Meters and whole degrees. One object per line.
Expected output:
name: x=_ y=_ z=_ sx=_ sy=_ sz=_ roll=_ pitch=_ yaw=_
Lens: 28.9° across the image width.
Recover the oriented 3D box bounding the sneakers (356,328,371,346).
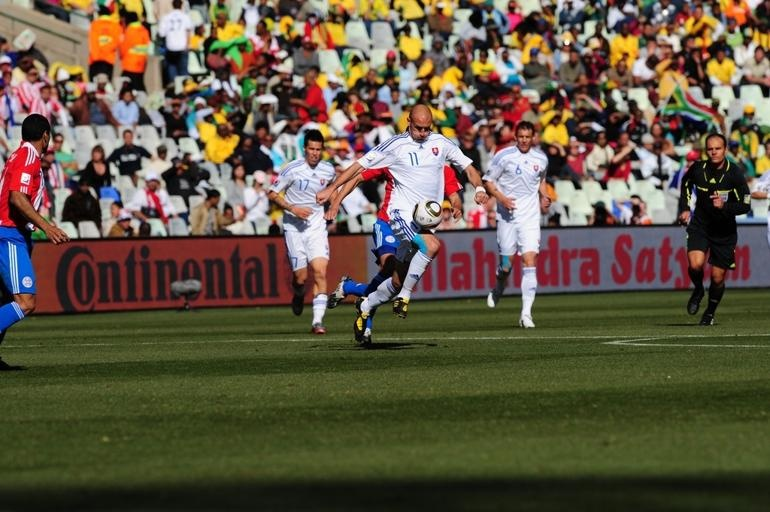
sneakers: x=-0.337 y=1.234 z=22.970 sx=0.233 sy=0.144 sz=0.307 roll=6 pitch=-21 yaw=-7

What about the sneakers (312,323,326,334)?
sneakers: x=-1.145 y=1.248 z=25.421 sx=0.122 sy=0.119 sz=0.258 roll=1 pitch=-6 yaw=-20

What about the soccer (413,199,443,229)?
soccer: x=0.646 y=-0.560 z=22.651 sx=0.420 sy=0.413 sz=0.402 roll=5 pitch=34 yaw=11

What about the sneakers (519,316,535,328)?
sneakers: x=2.423 y=1.128 z=25.697 sx=0.182 sy=0.208 sz=0.471 roll=1 pitch=-3 yaw=3

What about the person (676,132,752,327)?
person: x=5.499 y=-0.429 z=25.129 sx=1.099 sy=3.198 sz=0.729 roll=2 pitch=11 yaw=11

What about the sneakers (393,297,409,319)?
sneakers: x=0.208 y=0.753 z=22.448 sx=0.221 sy=0.285 sz=0.238 roll=3 pitch=12 yaw=12
